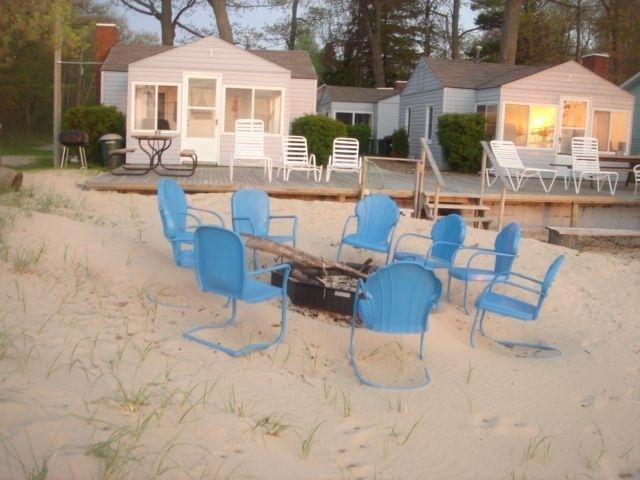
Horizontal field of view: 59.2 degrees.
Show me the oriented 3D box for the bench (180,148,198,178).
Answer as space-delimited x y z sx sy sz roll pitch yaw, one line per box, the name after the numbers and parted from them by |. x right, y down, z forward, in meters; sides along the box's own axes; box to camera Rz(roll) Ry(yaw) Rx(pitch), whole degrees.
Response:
-3.119 -1.826 13.370 0.376 0.513 0.999 -1 17 -10 | bench

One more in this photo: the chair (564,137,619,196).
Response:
6.995 -1.934 14.387 0.787 1.532 1.158 4 17 45 | chair

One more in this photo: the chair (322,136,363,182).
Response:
0.474 -1.726 12.139 0.679 0.914 1.307 2 13 1 | chair

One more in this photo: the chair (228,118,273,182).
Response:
-1.288 -2.044 12.790 1.228 1.548 1.247 -4 7 -27 | chair

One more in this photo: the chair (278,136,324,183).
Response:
-0.455 -1.783 13.054 0.894 1.203 1.697 0 19 -15 | chair
